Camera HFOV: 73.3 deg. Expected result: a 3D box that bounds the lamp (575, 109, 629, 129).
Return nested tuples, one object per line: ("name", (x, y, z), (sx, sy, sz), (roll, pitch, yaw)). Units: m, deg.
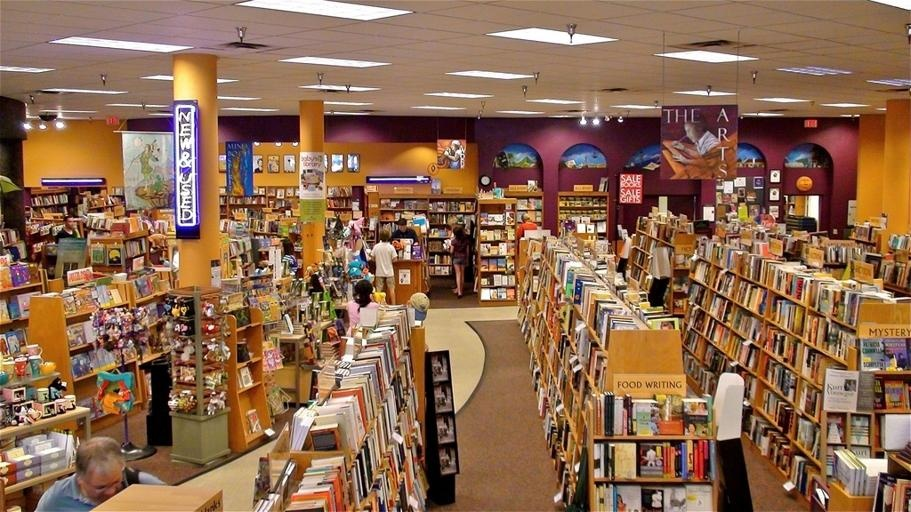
("lamp", (5.404, -5.113, 22.790), (1.484, 0.366, 1.483), (-2, -5, 43))
